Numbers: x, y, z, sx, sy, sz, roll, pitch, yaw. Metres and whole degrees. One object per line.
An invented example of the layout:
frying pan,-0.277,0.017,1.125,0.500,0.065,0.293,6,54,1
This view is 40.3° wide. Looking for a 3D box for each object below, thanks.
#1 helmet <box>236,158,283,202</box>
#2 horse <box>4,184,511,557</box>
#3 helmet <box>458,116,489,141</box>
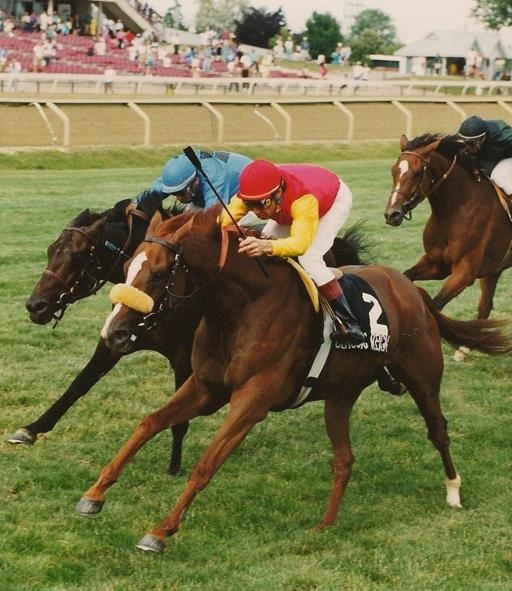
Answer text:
helmet,0.010,-0.427,2.683,0.169,0.102,0.185,21,53,25
horse,0.250,0.336,3.008,1.958,1.354,0.566,0,12,-37
helmet,1.558,-1.205,4.996,0.193,0.102,0.215,0,22,14
